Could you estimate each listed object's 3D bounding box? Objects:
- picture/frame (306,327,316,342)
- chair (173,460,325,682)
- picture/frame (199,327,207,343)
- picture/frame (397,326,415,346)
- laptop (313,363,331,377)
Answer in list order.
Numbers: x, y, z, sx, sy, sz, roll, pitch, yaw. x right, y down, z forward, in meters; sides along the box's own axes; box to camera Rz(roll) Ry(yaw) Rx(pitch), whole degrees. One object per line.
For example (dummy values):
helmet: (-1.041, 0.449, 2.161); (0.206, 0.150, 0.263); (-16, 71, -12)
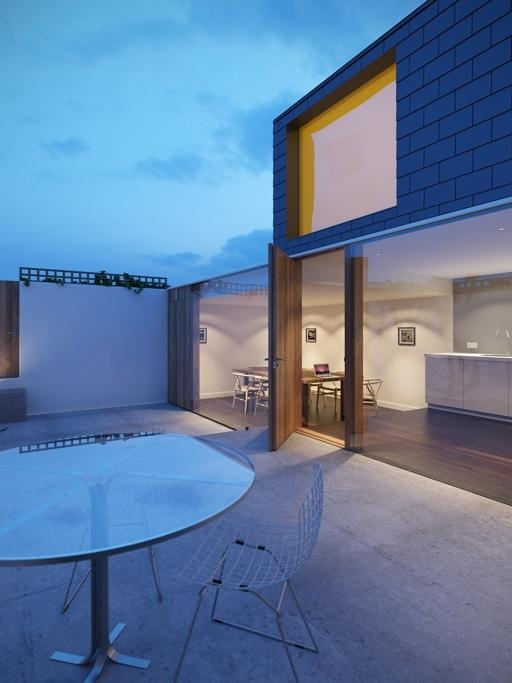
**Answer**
picture/frame: (1.240, -0.158, 10.298); (0.027, 0.376, 0.303); (3, -2, -31)
chair: (0.025, 0.946, 2.131); (0.619, 1.000, 0.737); (2, -2, 4)
picture/frame: (-1.034, -0.139, 8.979); (0.022, 0.354, 0.288); (0, 0, 44)
picture/frame: (1.387, -0.061, 4.237); (0.011, 0.174, 0.162); (-1, 2, -25)
laptop: (0.977, 0.414, 6.816); (0.226, 0.136, 0.231); (1, 1, 7)
